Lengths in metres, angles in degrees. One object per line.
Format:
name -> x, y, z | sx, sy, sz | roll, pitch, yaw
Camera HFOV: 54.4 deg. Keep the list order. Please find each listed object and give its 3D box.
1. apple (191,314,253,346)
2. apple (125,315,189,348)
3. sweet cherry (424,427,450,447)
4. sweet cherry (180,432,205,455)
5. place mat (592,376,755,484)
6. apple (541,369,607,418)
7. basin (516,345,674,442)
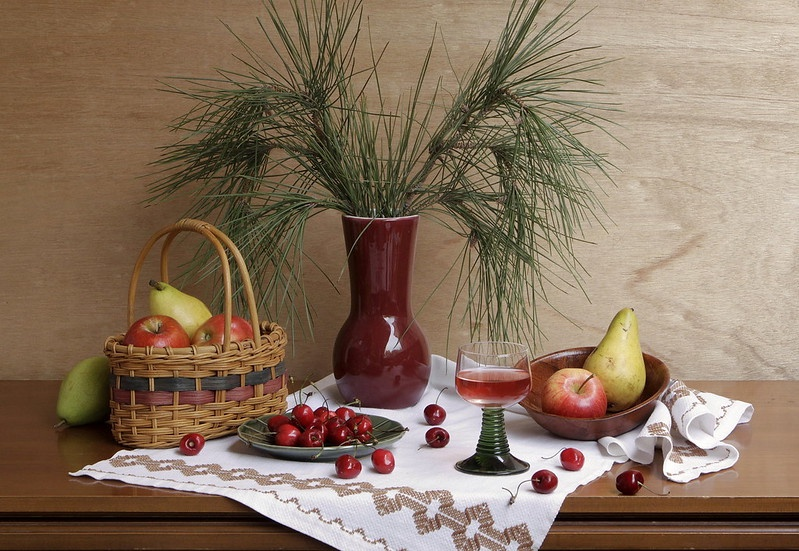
apple -> -0.330, 0.102, 1.428 | 0.106, 0.057, 0.077 | -8, -4, 9
apple -> -0.433, 0.100, 1.387 | 0.106, 0.051, 0.075 | 2, 4, -3
sweet cherry -> 0.057, 0.290, 1.391 | 0.056, 0.029, 0.043 | -1, -5, -3
sweet cherry -> -0.358, 0.290, 1.340 | 0.058, 0.032, 0.015 | -5, -5, 1
place mat -> 0.470, 0.269, 1.352 | 0.256, 0.055, 0.186 | 18, 35, 26
apple -> 0.309, 0.213, 1.421 | 0.137, 0.075, 0.097 | -3, 14, -4
basin -> 0.336, 0.229, 1.434 | 0.270, 0.049, 0.222 | -13, 16, -20
